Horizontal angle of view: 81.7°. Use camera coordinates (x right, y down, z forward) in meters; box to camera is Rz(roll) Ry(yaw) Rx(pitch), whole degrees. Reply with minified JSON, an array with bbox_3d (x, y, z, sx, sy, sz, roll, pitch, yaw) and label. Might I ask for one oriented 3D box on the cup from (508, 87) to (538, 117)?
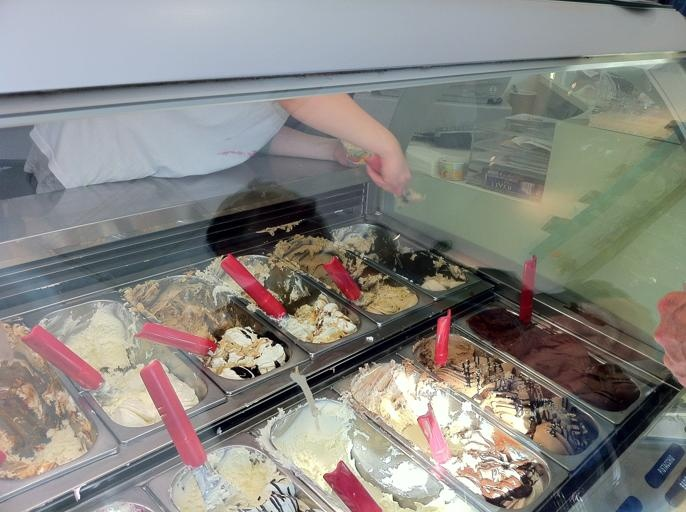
[{"bbox_3d":[0.432,-0.370,0.954,0.051,0.045,0.038,14,47,16],"label":"cup"}]
